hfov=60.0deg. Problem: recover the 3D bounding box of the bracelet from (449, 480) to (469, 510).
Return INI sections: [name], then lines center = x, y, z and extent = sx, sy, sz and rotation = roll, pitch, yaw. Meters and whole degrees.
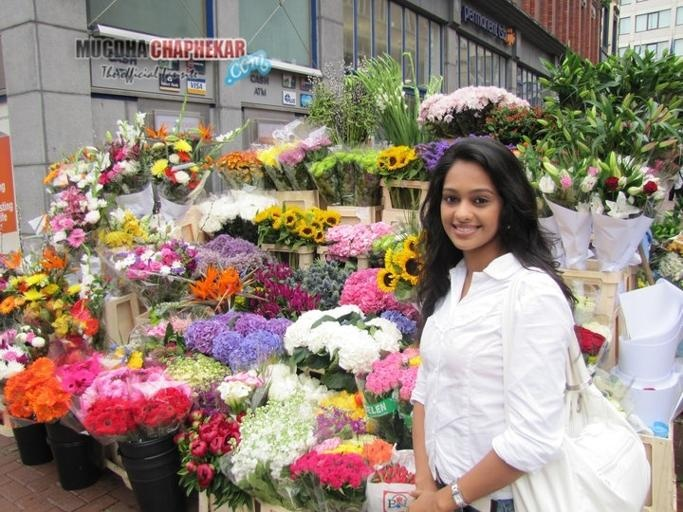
[bracelet]
center = 0.547, 1.085, 2.739
extent = 0.069, 0.122, 0.114
rotation = -28, -5, 15
